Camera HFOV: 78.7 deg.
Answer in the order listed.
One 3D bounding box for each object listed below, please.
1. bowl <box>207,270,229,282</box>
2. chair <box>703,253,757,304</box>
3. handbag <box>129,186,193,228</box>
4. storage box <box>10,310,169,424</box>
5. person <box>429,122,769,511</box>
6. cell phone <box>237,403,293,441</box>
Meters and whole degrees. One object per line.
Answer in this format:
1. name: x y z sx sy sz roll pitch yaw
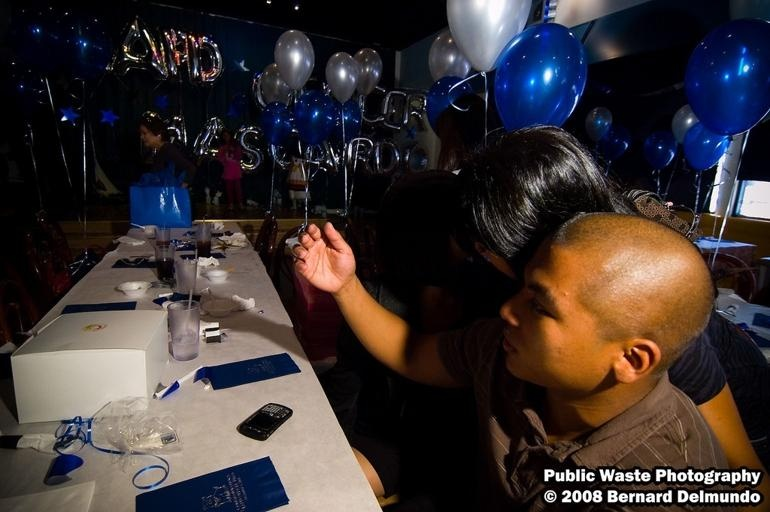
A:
1. bowl: -0.928 0.097 2.554 0.073 0.032 0.073 3 22 -1
2. chair: 2.305 0.134 3.090 0.249 0.333 0.259 -5 24 20
3. handbag: -1.855 -0.411 3.846 0.382 0.288 0.211 0 14 -15
4. storage box: -0.984 0.363 1.594 0.395 0.315 0.245 3 11 -9
5. person: 0.929 0.076 1.916 1.019 1.101 1.429 5 48 33
6. cell phone: -0.388 0.535 1.520 0.104 0.061 0.157 12 13 35
